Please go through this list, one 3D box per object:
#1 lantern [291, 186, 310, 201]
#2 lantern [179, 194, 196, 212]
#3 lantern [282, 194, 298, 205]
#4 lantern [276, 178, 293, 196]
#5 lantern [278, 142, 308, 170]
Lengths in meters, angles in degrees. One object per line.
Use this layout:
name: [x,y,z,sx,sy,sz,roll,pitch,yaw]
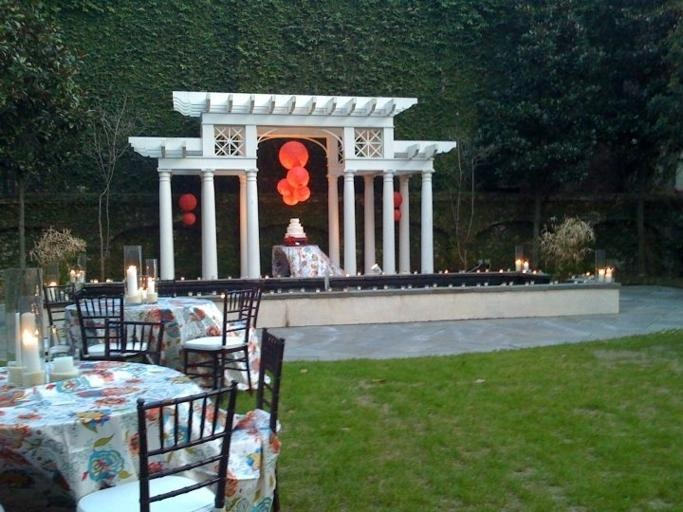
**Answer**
lantern: [-1.008,-1.532,19.638,0.408,0.427,0.635,-2,14,-6]
lantern: [-4.090,-1.439,21.657,0.461,0.510,0.467,-10,16,-44]
lantern: [-1.317,-1.449,20.622,0.335,0.308,0.300,17,16,-6]
lantern: [-1.402,-1.762,19.971,0.431,0.546,0.449,0,-7,-9]
lantern: [-1.153,-2.376,19.410,0.708,0.844,0.749,-7,-4,-3]
